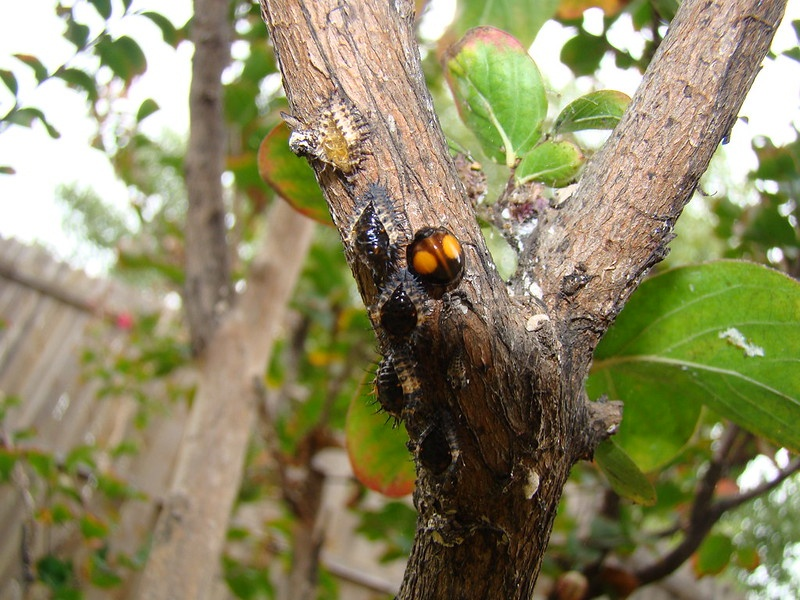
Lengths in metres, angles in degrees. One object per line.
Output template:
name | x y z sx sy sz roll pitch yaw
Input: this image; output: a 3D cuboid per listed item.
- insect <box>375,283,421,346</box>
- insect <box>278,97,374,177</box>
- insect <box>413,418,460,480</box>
insect | -0.002 0.045 1.954 0.127 0.138 0.085 53 9 14
insect | -0.217 -0.489 1.991 0.202 0.250 0.061 2 -4 5
insect | 0.121 0.439 2.064 0.136 0.172 0.082 22 -18 -5
